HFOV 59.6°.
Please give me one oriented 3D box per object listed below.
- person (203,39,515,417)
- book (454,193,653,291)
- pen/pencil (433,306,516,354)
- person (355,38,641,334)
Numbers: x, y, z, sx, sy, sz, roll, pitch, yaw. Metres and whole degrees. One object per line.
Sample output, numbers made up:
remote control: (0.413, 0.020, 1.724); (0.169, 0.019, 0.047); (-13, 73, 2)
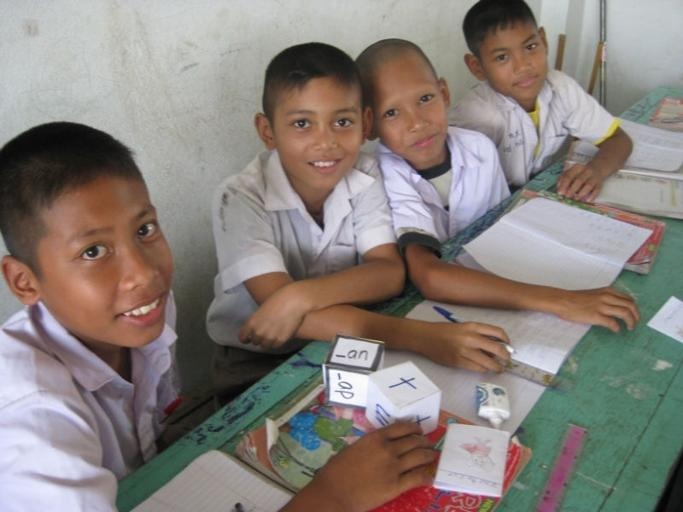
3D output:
person: (0.022, -0.071, 1.428); (0.509, 0.887, 0.921); (-22, 40, -18)
book: (0.528, -0.030, 1.446); (0.273, 0.041, 0.356); (23, 39, 38)
pen/pencil: (0.269, 0.149, 1.186); (0.020, 0.019, 0.136); (-40, 47, -16)
person: (0.263, -0.197, 1.506); (0.410, 0.705, 0.950); (-30, 39, -13)
